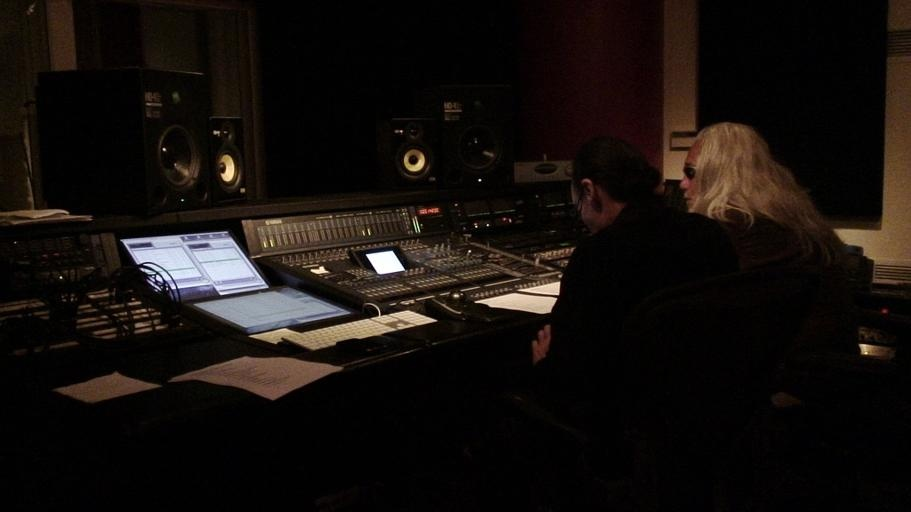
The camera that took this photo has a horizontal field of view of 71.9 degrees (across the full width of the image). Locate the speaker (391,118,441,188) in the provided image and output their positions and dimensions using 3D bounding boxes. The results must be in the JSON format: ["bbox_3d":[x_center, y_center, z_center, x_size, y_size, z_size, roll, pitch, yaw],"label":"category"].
[{"bbox_3d":[-0.253,-0.649,3.880,0.289,0.404,0.148,-9,17,-4],"label":"speaker"}]

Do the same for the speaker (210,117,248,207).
[{"bbox_3d":[-1.209,-0.511,3.330,0.094,0.448,0.283,-4,17,14],"label":"speaker"}]

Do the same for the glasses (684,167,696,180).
[{"bbox_3d":[1.281,-0.456,3.446,0.061,0.056,0.051,-3,-3,24],"label":"glasses"}]

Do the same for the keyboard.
[{"bbox_3d":[-0.421,0.333,2.830,0.669,0.044,0.244,-11,16,-22],"label":"keyboard"}]

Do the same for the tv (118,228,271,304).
[{"bbox_3d":[-1.261,0.036,3.062,0.528,0.334,0.297,-18,20,-37],"label":"tv"}]

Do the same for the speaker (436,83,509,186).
[{"bbox_3d":[0.242,-0.765,4.118,0.566,0.643,0.398,6,13,30],"label":"speaker"}]

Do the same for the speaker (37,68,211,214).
[{"bbox_3d":[-1.834,-0.588,3.259,0.895,0.679,0.607,3,9,4],"label":"speaker"}]
